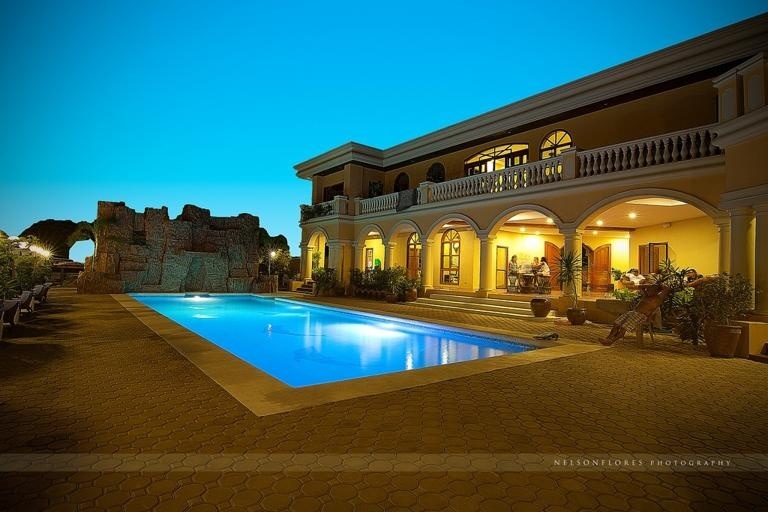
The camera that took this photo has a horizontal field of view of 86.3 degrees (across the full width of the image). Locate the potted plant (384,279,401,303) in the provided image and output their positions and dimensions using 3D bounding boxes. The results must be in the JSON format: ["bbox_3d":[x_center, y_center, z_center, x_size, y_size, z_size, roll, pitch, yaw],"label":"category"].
[{"bbox_3d":[0.407,1.711,19.750,1.110,1.174,0.973,2,-10,2],"label":"potted plant"}]

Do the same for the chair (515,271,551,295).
[{"bbox_3d":[7.062,1.236,18.840,1.161,0.646,1.099,1,-3,-13],"label":"chair"}]

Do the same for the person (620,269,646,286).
[{"bbox_3d":[8.944,0.768,14.614,0.691,0.797,0.782,-3,-10,39],"label":"person"}]

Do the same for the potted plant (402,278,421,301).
[{"bbox_3d":[1.081,1.596,19.555,1.134,1.144,0.964,1,-1,35],"label":"potted plant"}]

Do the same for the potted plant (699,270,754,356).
[{"bbox_3d":[8.071,1.397,9.788,1.117,1.930,0.631,5,10,22],"label":"potted plant"}]
